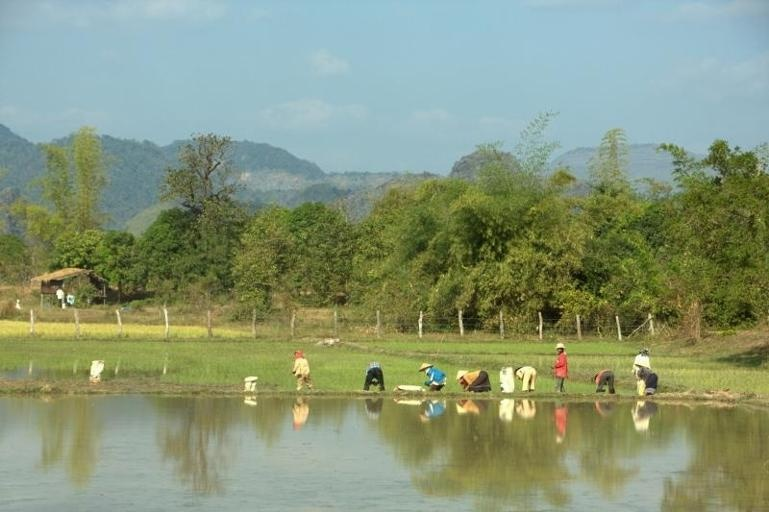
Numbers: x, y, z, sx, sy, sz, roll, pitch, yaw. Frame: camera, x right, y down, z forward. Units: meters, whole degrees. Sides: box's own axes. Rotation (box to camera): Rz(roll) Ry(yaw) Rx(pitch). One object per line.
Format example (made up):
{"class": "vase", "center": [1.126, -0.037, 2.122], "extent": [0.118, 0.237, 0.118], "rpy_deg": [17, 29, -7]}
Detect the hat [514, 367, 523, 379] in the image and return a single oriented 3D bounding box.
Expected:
{"class": "hat", "center": [11.376, 9.713, 112.957], "extent": [0.622, 0.880, 0.336], "rpy_deg": [2, -27, 7]}

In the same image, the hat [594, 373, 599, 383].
{"class": "hat", "center": [18.107, 10.239, 114.525], "extent": [0.534, 0.730, 0.771], "rpy_deg": [-2, -13, 3]}

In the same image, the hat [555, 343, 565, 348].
{"class": "hat", "center": [14.693, 7.427, 111.780], "extent": [0.824, 0.323, 0.879], "rpy_deg": [1, 2, 9]}
